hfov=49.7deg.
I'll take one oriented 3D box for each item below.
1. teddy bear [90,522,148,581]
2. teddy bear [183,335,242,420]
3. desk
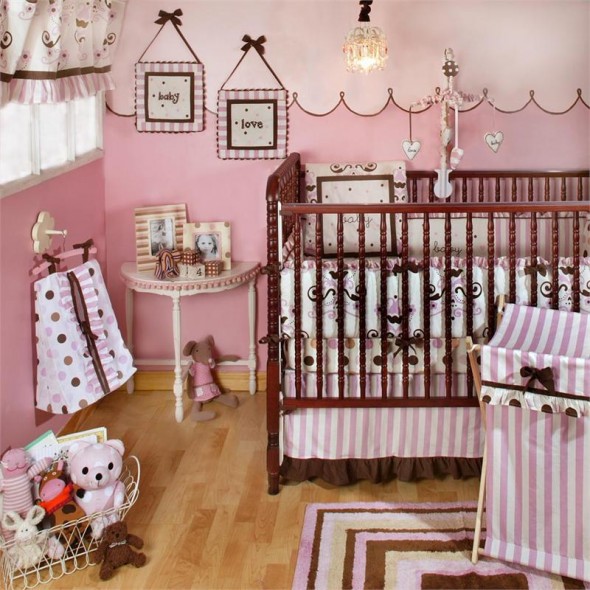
[{"bbox_3d":[-0.539,0.782,1.924,0.098,0.102,0.058,-17,-1,-27],"label":"teddy bear"},{"bbox_3d":[-0.412,0.399,3.156,0.243,0.377,0.258,-7,12,-11],"label":"teddy bear"},{"bbox_3d":[-0.453,0.164,3.321,0.584,0.722,0.645,-6,18,-12],"label":"desk"}]
